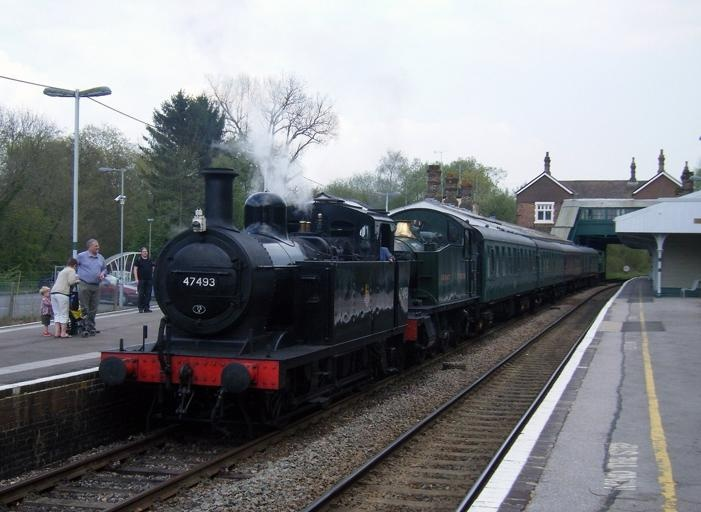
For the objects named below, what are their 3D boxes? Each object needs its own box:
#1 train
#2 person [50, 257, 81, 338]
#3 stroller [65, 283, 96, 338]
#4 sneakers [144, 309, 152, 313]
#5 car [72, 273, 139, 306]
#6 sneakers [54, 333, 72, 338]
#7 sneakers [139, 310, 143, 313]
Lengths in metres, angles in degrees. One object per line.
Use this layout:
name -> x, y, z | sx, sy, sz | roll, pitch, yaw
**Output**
train -> 1.210, 0.561, 14.413 | 2.131, 4.631, 13.625 | 1, 5, 28
person -> -5.666, 0.852, 13.030 | 0.542, 1.522, 0.594 | 1, 6, 31
stroller -> -5.475, 1.143, 13.339 | 0.502, 0.881, 0.793 | 0, -6, 10
sneakers -> -5.526, 1.517, 17.978 | 0.150, 0.056, 0.101 | 0, -11, -26
car -> -6.710, 0.980, 18.156 | 2.066, 0.941, 1.068 | -5, 1, 11
sneakers -> -5.682, 1.586, 13.002 | 0.272, 0.115, 0.094 | -3, -2, 21
sneakers -> -5.653, 1.502, 17.734 | 0.096, 0.078, 0.137 | -1, 2, -27
